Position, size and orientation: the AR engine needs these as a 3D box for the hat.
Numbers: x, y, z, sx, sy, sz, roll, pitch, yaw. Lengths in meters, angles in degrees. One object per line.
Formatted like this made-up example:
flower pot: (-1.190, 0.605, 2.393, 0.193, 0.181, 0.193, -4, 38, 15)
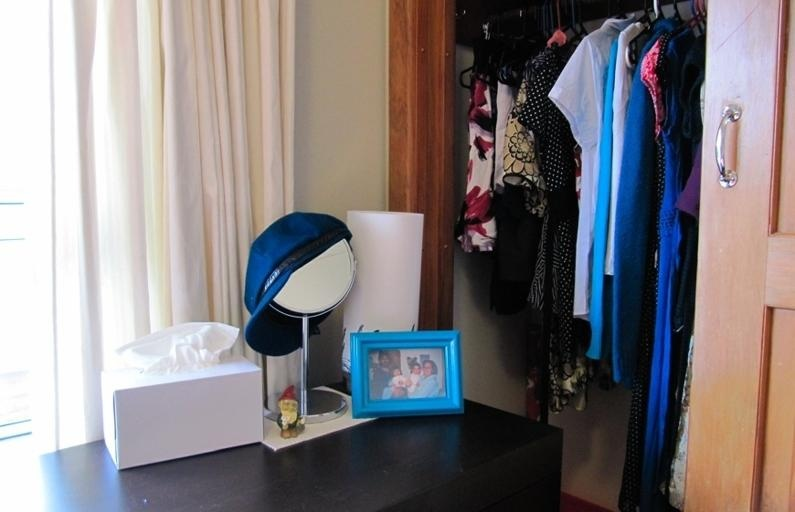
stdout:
hat: (-0.269, 0.085, 1.970, 0.327, 0.411, 0.168, -5, 9, -19)
